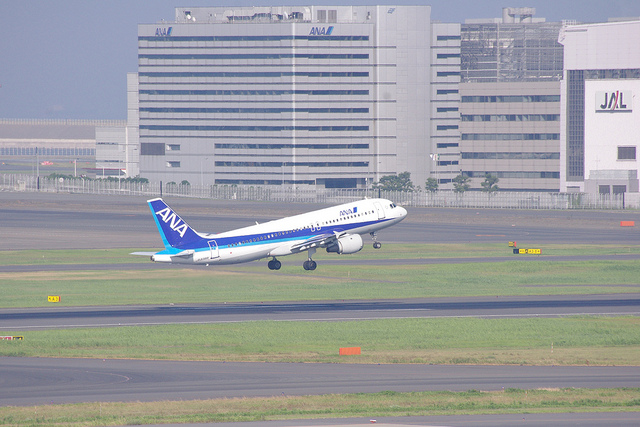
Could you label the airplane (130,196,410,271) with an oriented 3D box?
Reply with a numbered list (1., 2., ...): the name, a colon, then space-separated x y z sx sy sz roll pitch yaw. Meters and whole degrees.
1. airplane: -8.676 3.230 315.317 44.161 11.735 9.489 -1 1 -28
